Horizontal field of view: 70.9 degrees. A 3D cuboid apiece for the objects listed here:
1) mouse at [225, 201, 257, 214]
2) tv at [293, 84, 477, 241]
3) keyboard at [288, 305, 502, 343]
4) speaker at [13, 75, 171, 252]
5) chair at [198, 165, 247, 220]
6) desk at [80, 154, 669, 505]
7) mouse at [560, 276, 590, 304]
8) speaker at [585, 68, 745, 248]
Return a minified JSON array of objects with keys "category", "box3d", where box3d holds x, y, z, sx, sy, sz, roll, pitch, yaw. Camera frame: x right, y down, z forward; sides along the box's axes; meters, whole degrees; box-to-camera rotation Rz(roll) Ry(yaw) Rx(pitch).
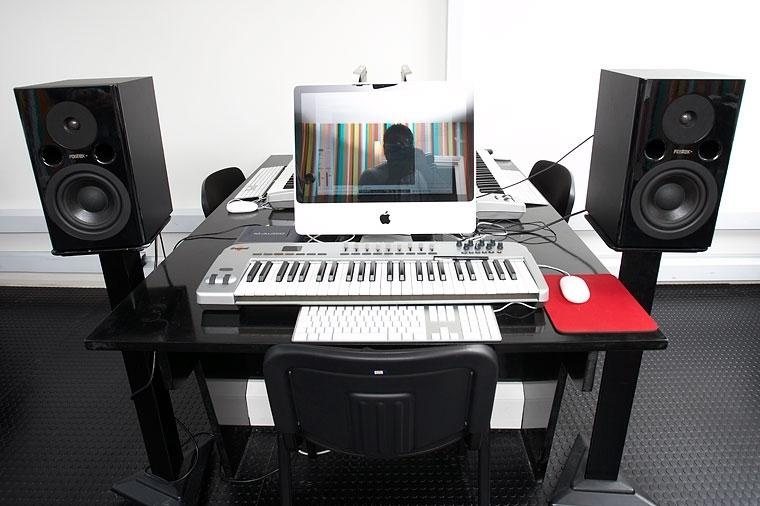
[{"category":"mouse","box3d":[-0.640,-0.217,2.501,0.103,0.025,0.073,2,31,-4]},{"category":"tv","box3d":[0.021,-0.365,2.029,0.557,0.477,0.200,-1,12,1]},{"category":"keyboard","box3d":[0.051,0.238,1.807,0.676,0.059,0.155,0,24,1]},{"category":"speaker","box3d":[-0.992,-0.313,1.947,0.462,0.582,0.309,-15,27,-30]},{"category":"chair","box3d":[-0.822,-0.323,2.814,0.215,0.314,0.227,15,41,9]},{"category":"desk","box3d":[-0.354,0.054,2.559,1.218,0.819,1.657,-1,31,-1]},{"category":"mouse","box3d":[0.696,0.131,1.917,0.112,0.070,0.085,8,25,19]},{"category":"speaker","box3d":[0.985,-0.334,1.917,0.379,0.593,0.368,2,24,6]}]
